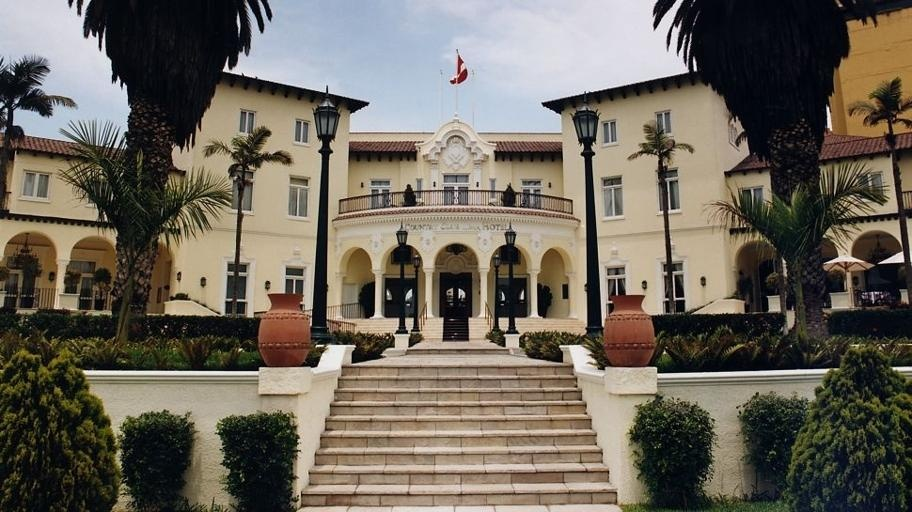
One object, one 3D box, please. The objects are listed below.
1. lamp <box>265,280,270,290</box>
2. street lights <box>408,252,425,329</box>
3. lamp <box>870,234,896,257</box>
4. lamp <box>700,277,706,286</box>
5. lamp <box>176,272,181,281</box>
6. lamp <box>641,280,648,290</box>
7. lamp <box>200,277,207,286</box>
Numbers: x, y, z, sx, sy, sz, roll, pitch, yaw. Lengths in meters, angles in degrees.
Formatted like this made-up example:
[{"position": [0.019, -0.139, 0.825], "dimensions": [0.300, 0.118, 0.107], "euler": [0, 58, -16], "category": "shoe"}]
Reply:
[{"position": [-10.459, 1.633, 43.820], "dimensions": [0.401, 0.656, 0.355], "euler": [1, -8, -10], "category": "lamp"}, {"position": [-1.931, 1.919, 38.906], "dimensions": [0.741, 4.085, 0.686], "euler": [-1, -10, 5], "category": "street lights"}, {"position": [22.955, -0.580, 42.072], "dimensions": [0.976, 0.982, 0.539], "euler": [-3, -25, 7], "category": "lamp"}, {"position": [13.409, 1.361, 42.529], "dimensions": [0.330, 0.524, 0.178], "euler": [4, 13, 6], "category": "lamp"}, {"position": [-14.710, 1.076, 41.858], "dimensions": [0.284, 0.547, 0.183], "euler": [-3, 14, -22], "category": "lamp"}, {"position": [10.537, 1.606, 43.792], "dimensions": [0.407, 0.567, 0.416], "euler": [0, -2, 6], "category": "lamp"}, {"position": [-13.560, 1.381, 42.353], "dimensions": [0.352, 0.492, 0.156], "euler": [-6, 15, -32], "category": "lamp"}]
